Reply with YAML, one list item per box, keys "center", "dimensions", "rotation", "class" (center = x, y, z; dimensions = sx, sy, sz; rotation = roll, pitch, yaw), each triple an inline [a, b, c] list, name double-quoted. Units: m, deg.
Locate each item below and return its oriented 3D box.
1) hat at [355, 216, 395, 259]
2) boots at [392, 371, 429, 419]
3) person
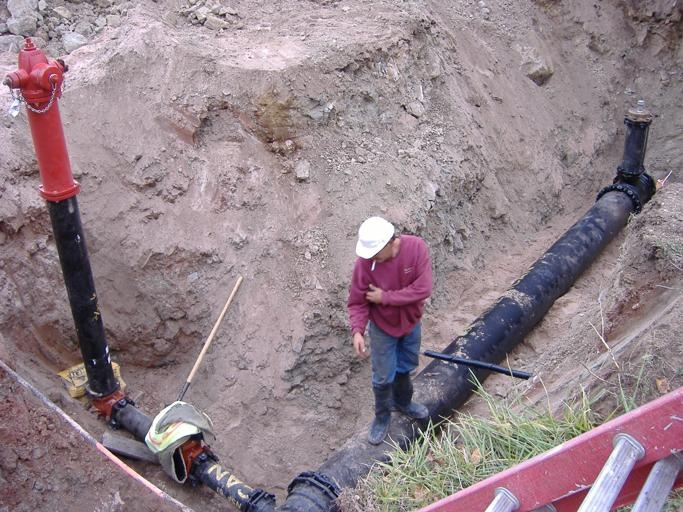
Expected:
- center: [0.298, -0.189, 6.318]
  dimensions: [0.295, 0.208, 0.402]
  rotation: [29, 75, 39]
  class: "hat"
- center: [0.732, 1.432, 7.025]
  dimensions: [0.397, 0.495, 0.265]
  rotation: [6, 29, 16]
  class: "boots"
- center: [0.473, 0.744, 6.760]
  dimensions: [0.940, 2.302, 0.654]
  rotation: [-24, 34, -33]
  class: "person"
